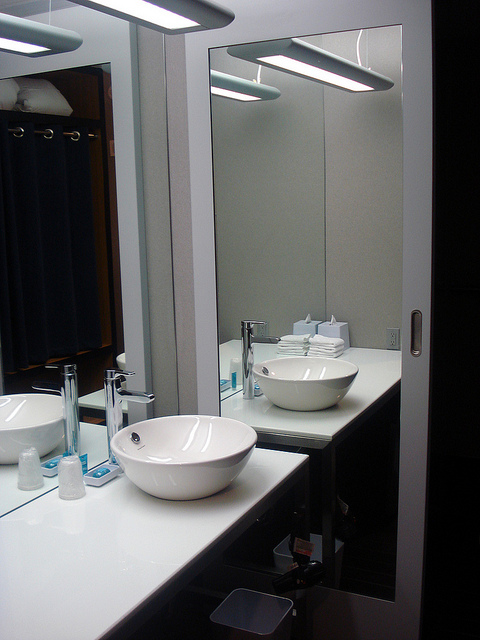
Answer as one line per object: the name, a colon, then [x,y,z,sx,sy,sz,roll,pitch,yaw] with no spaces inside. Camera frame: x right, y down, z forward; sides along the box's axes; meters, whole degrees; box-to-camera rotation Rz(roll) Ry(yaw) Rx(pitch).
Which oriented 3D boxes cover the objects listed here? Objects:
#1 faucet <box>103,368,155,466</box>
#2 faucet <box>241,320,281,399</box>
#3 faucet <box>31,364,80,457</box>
faucet: [-0.311,0.269,1.413,0.124,0.302,0.049,7,20,6]
faucet: [0.061,0.143,1.653,0.113,0.046,0.284,-6,55,9]
faucet: [-0.483,0.240,1.350,0.102,0.301,0.039,-9,31,-26]
